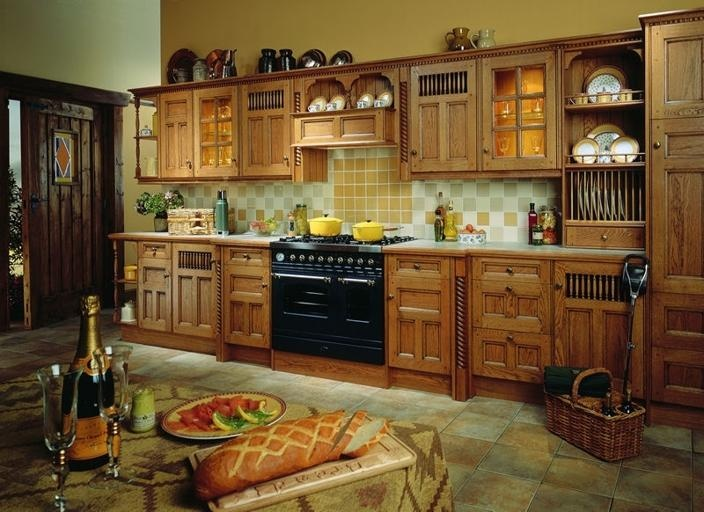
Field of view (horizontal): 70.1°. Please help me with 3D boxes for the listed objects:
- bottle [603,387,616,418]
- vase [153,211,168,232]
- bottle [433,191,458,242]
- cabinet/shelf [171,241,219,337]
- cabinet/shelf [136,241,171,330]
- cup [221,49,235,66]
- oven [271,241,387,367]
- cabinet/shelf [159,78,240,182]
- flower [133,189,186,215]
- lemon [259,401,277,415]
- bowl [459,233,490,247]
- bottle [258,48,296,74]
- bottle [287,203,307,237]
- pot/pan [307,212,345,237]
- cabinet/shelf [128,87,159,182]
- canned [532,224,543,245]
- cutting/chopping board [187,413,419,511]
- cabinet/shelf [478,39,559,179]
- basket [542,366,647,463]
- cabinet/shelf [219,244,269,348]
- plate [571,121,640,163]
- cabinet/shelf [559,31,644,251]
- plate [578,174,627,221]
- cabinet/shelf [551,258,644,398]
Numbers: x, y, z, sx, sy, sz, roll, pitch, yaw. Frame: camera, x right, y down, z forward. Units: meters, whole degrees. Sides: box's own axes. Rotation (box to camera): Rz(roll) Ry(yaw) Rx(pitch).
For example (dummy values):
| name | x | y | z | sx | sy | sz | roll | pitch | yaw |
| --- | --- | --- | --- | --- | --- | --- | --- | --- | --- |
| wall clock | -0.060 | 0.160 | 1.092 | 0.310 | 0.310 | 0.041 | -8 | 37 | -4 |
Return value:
| name | x | y | z | sx | sy | sz | roll | pitch | yaw |
| --- | --- | --- | --- | --- | --- | --- | --- | --- | --- |
| bottle | 1.575 | 0.869 | 3.085 | 0.074 | 0.142 | 0.265 | 3 | 9 | 28 |
| vase | -2.175 | -0.397 | 5.707 | 0.211 | 0.225 | 0.207 | 0 | 1 | -28 |
| bottle | 0.837 | -0.354 | 4.467 | 0.206 | 0.423 | 0.245 | 1 | 8 | 10 |
| cabinet/shelf | -1.560 | 0.323 | 4.939 | 0.538 | 0.891 | 0.155 | 5 | 9 | 34 |
| cabinet/shelf | -2.014 | 0.300 | 5.152 | 0.475 | 0.887 | 0.149 | 5 | 10 | 36 |
| cup | -1.283 | -2.065 | 5.231 | 0.102 | 0.205 | 0.280 | -3 | 8 | -16 |
| oven | -0.059 | 0.472 | 4.899 | 0.962 | 1.306 | 1.397 | 11 | -6 | 4 |
| cabinet/shelf | -1.523 | -1.298 | 5.377 | 1.087 | 0.945 | 0.457 | 5 | 8 | 25 |
| flower | -2.167 | -0.589 | 5.633 | 0.389 | 0.265 | 0.397 | 4 | 8 | 36 |
| lemon | -0.316 | 0.572 | 1.892 | 0.049 | 0.030 | 0.045 | 16 | 24 | 35 |
| bowl | 0.994 | -0.142 | 4.137 | 0.225 | 0.091 | 0.273 | 1 | 8 | 12 |
| bottle | -0.771 | -1.954 | 5.055 | 0.336 | 0.270 | 0.333 | -8 | 15 | -33 |
| bottle | -0.545 | -0.366 | 5.099 | 0.179 | 0.311 | 0.333 | -3 | 8 | -17 |
| pot/pan | -0.242 | -0.275 | 4.668 | 0.254 | 0.155 | 0.218 | -1 | 0 | 2 |
| cabinet/shelf | -2.805 | -1.620 | 6.774 | 0.357 | 1.240 | 3.006 | -4 | 9 | -21 |
| canned | 1.498 | -0.173 | 4.056 | 0.091 | 0.156 | 0.127 | 2 | 8 | 20 |
| cutting/chopping board | -0.107 | 0.508 | 1.445 | 0.486 | 0.095 | 0.280 | -9 | 15 | -23 |
| cabinet/shelf | 1.308 | -1.107 | 3.936 | 0.596 | 0.935 | 0.179 | 1 | 8 | 13 |
| basket | 1.581 | 0.954 | 3.223 | 0.402 | 0.439 | 0.613 | -8 | 4 | -13 |
| cabinet/shelf | -0.853 | 0.387 | 4.920 | 0.580 | 0.993 | 0.670 | 1 | 2 | 29 |
| plate | 1.969 | -0.849 | 3.875 | 0.427 | 0.396 | 0.061 | 16 | 9 | 43 |
| cabinet/shelf | 1.946 | -0.797 | 3.868 | 0.598 | 1.523 | 0.249 | 2 | 12 | 35 |
| plate | 1.923 | -0.424 | 3.900 | 0.320 | 0.420 | 0.131 | 3 | 12 | 37 |
| cabinet/shelf | 1.849 | 0.500 | 3.703 | 0.564 | 0.998 | 0.468 | 0 | 7 | 36 |
